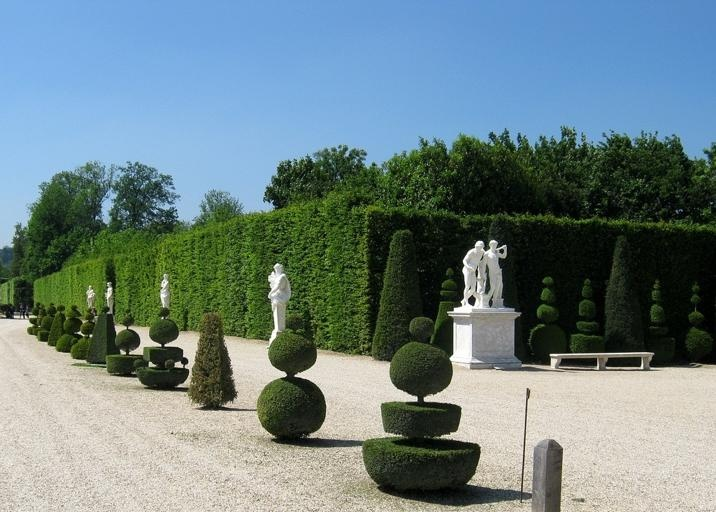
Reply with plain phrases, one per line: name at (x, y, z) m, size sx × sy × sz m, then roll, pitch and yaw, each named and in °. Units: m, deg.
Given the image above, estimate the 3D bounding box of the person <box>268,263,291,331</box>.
person at (-2.858, 1.529, 30.028) m, size 0.767 × 2.540 × 1.145 m, roll 1°, pitch -4°, yaw -7°
